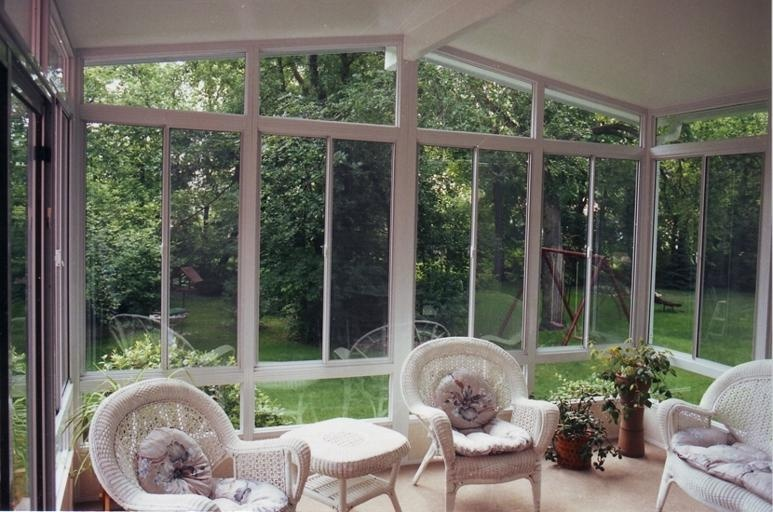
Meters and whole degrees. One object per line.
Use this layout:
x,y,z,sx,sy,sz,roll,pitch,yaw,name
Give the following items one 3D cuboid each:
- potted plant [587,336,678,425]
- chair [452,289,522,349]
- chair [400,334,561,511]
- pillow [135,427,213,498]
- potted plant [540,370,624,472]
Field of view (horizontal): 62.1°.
2.288,1.170,6.260,0.933,1.090,0.795,1,-6,-3,potted plant
0.917,0.587,6.071,0.538,0.519,0.287,5,-4,-8,chair
0.711,1.295,5.593,1.338,1.436,1.332,0,-5,-13,chair
-1.434,1.413,4.332,0.515,0.414,0.173,40,-41,-26,pillow
1.878,1.528,6.163,0.801,1.006,0.784,0,-2,25,potted plant
